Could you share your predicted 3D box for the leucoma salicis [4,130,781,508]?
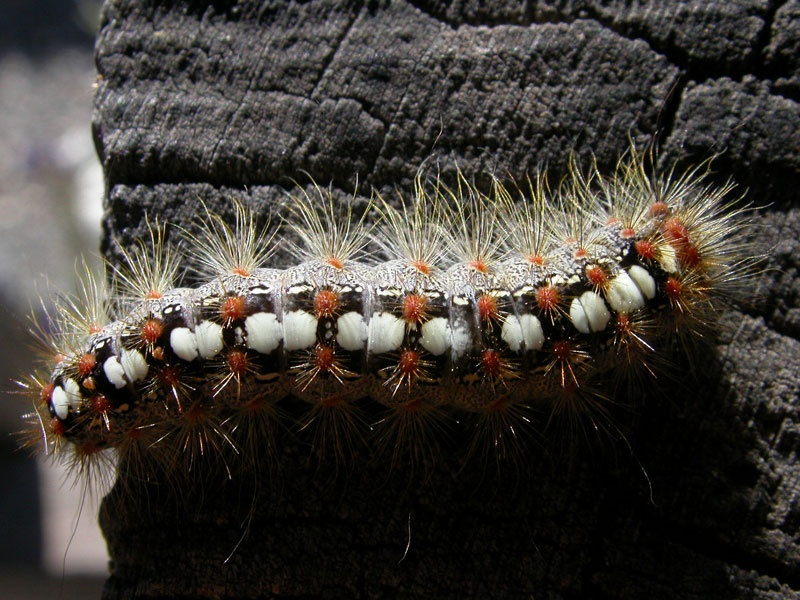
[{"bbox_3d":[-0.070,0.155,5.640,3.882,2.137,0.923,4,24,-5],"label":"leucoma salicis"}]
